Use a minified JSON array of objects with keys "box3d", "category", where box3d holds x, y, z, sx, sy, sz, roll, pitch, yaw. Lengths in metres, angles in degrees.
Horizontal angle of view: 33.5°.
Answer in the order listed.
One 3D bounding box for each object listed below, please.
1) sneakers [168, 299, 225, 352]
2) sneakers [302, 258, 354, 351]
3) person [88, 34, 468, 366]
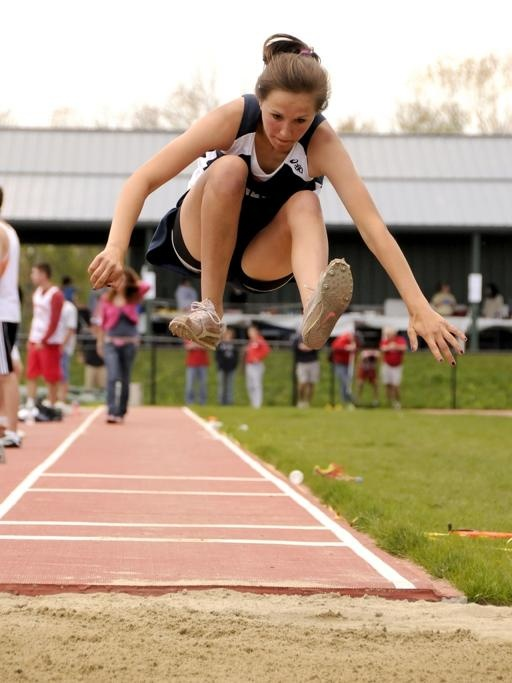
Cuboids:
[{"box3d":[-0.208,-0.060,3.298,0.112,0.157,0.292,42,3,14],"category":"sneakers"},{"box3d":[0.233,-0.115,2.884,0.130,0.345,0.163,16,33,-12],"category":"sneakers"},{"box3d":[0.166,-0.493,3.269,1.134,1.137,1.369,2,-2,4],"category":"person"}]
